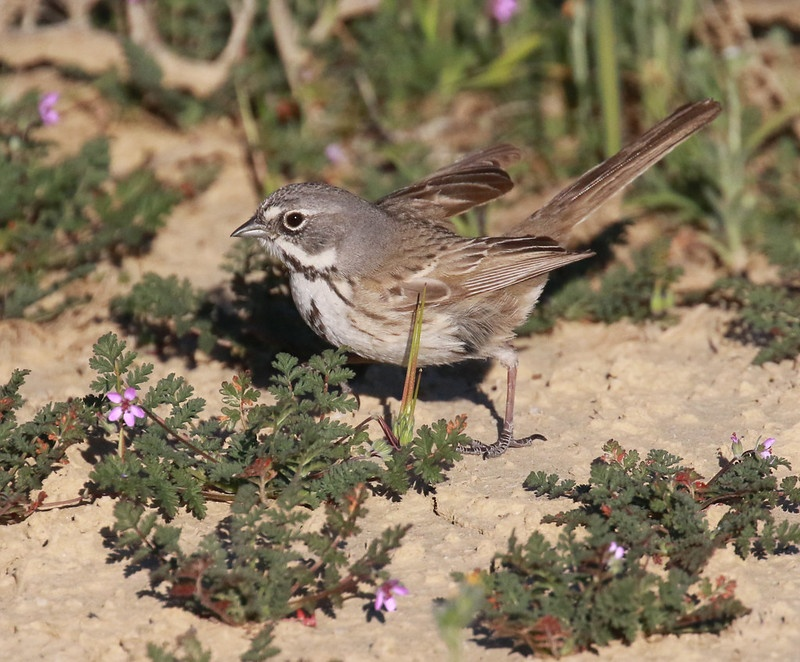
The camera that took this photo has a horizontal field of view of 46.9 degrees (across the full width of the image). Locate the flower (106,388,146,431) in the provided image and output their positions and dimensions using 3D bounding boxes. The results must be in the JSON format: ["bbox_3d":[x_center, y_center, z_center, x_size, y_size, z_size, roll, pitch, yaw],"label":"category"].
[{"bbox_3d":[-1.567,0.420,5.270,0.187,0.250,0.241,-7,60,-5],"label":"flower"}]

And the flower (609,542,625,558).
[{"bbox_3d":[1.119,1.111,4.712,0.084,0.086,0.035,-7,33,12],"label":"flower"}]
